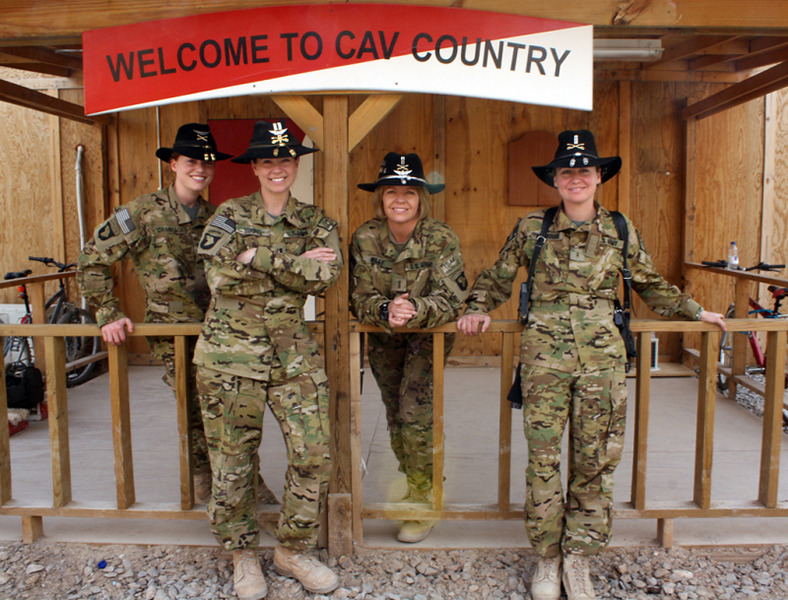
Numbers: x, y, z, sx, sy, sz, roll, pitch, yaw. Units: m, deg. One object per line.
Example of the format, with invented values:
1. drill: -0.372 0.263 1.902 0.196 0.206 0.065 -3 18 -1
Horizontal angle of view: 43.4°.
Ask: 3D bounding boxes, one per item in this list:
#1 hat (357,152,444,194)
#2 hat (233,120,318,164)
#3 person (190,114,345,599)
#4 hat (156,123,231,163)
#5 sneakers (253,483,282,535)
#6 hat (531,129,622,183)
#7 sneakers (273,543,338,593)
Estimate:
1. hat: 0.060 -0.821 6.552 0.516 0.163 0.486 1 0 1
2. hat: -0.790 -0.991 6.061 0.326 0.114 0.304 11 27 34
3. person: -0.774 0.371 6.088 0.900 2.946 0.365 0 1 -3
4. hat: -1.389 -1.086 6.707 0.395 0.146 0.411 1 -1 -24
5. sneakers: -0.830 1.386 6.508 0.070 0.147 0.233 -15 31 -17
6. hat: 1.142 -0.961 6.214 0.539 0.226 0.539 5 8 41
7. sneakers: -0.537 1.666 6.216 0.538 0.196 0.197 11 16 11
